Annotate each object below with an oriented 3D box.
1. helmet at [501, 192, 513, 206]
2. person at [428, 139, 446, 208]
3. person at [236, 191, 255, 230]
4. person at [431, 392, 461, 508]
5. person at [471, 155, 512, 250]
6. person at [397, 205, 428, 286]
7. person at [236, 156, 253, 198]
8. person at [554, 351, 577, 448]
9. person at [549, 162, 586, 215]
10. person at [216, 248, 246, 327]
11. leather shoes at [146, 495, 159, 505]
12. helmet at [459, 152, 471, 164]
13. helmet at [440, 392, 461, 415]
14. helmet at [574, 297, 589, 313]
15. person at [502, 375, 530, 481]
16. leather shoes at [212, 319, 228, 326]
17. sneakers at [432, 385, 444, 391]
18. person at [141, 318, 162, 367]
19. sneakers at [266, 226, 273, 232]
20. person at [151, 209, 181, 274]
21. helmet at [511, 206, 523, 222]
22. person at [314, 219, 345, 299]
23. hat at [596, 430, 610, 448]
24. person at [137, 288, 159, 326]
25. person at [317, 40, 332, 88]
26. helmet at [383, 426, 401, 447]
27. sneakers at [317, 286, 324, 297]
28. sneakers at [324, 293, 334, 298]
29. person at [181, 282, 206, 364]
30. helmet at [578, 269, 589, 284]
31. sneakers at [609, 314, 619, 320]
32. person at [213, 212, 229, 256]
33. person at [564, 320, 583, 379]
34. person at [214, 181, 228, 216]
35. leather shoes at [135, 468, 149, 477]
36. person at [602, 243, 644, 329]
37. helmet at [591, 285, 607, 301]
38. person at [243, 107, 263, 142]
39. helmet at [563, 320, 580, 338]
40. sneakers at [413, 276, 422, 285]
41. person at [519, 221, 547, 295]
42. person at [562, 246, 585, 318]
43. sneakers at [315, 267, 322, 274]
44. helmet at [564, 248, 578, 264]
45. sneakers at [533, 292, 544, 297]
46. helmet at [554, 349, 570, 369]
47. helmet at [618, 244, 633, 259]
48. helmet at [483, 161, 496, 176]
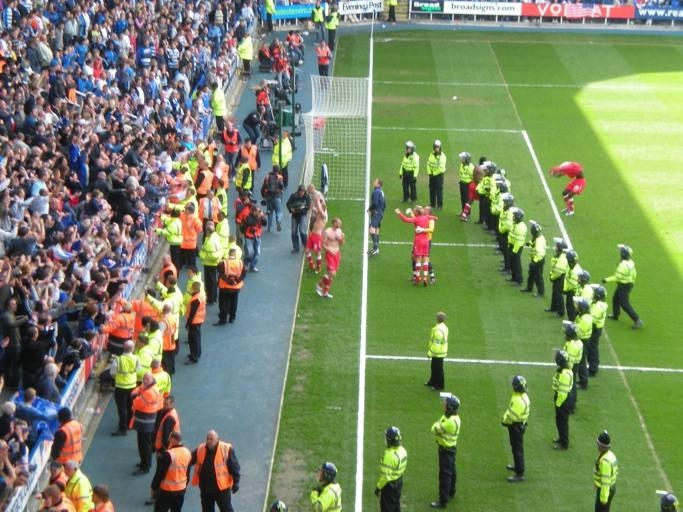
[{"bbox_3d":[4.657,-1.562,34.113,0.293,0.391,0.549,1,22,5],"label":"helmet"},{"bbox_3d":[2.929,-2.562,37.645,0.473,2.297,0.946,0,21,4],"label":"person"},{"bbox_3d":[-2.691,-1.207,33.287,0.457,0.296,0.990,12,30,-7],"label":"person"},{"bbox_3d":[2.251,4.292,26.374,0.540,2.375,0.878,2,21,8],"label":"person"},{"bbox_3d":[4.397,-1.452,35.878,1.060,2.723,1.257,-13,45,-9],"label":"person"},{"bbox_3d":[2.091,-0.262,33.205,0.655,2.310,0.836,-7,21,-14],"label":"person"},{"bbox_3d":[-2.854,-2.303,35.503,0.381,1.241,0.539,5,58,-8],"label":"person"},{"bbox_3d":[5.061,3.349,27.795,0.410,2.195,0.644,2,21,9],"label":"person"},{"bbox_3d":[7.102,-2.179,38.163,1.036,1.750,0.962,-4,13,-19],"label":"person"},{"bbox_3d":[-2.888,0.817,31.030,0.726,2.118,0.575,5,21,15],"label":"person"},{"bbox_3d":[-4.109,5.352,26.179,0.100,0.130,0.311,0,0,26],"label":"leather shoes"},{"bbox_3d":[3.773,-3.042,37.049,0.338,0.452,0.454,4,-11,10],"label":"helmet"},{"bbox_3d":[2.334,3.256,26.410,0.464,0.442,0.359,10,4,25],"label":"helmet"},{"bbox_3d":[5.818,1.227,29.418,0.272,0.409,0.392,2,-1,4],"label":"helmet"},{"bbox_3d":[3.866,3.876,26.957,0.522,2.302,0.784,2,21,8],"label":"person"},{"bbox_3d":[-3.197,1.742,31.351,0.295,0.148,0.131,4,23,-1],"label":"leather shoes"},{"bbox_3d":[2.322,3.261,29.481,0.253,0.119,0.100,-2,19,0],"label":"sneakers"},{"bbox_3d":[-4.307,2.011,27.279,0.402,1.236,0.525,10,29,2],"label":"person"},{"bbox_3d":[-2.171,-0.786,36.037,0.150,0.135,0.228,1,12,-5],"label":"sneakers"},{"bbox_3d":[-4.667,-0.373,31.997,0.589,1.574,0.645,-3,58,-13],"label":"person"},{"bbox_3d":[4.828,-1.103,33.339,0.275,0.364,0.405,-1,22,0],"label":"helmet"},{"bbox_3d":[-0.309,0.064,32.519,0.703,2.204,0.636,8,7,36],"label":"person"},{"bbox_3d":[5.572,3.968,25.902,0.286,0.344,0.407,4,29,15],"label":"hat"},{"bbox_3d":[-4.591,1.220,28.356,0.530,0.826,0.203,10,5,2],"label":"person"},{"bbox_3d":[-0.721,-7.814,48.812,0.610,1.749,0.574,3,27,6],"label":"person"},{"bbox_3d":[1.067,3.836,25.479,0.298,0.491,0.426,-1,22,0],"label":"helmet"},{"bbox_3d":[-0.593,0.996,32.821,0.187,0.255,0.212,-8,9,-3],"label":"sneakers"},{"bbox_3d":[-0.363,1.094,32.764,0.271,0.111,0.119,5,-22,-12],"label":"sneakers"},{"bbox_3d":[-3.615,1.605,29.570,0.510,2.222,0.673,-9,22,-19],"label":"person"},{"bbox_3d":[6.113,0.545,30.692,0.303,0.326,0.229,21,-14,-37],"label":"helmet"},{"bbox_3d":[7.281,1.696,32.431,0.225,0.237,0.119,-10,23,2],"label":"sneakers"},{"bbox_3d":[-3.146,-0.509,31.406,0.309,1.263,0.540,6,31,3],"label":"person"},{"bbox_3d":[5.485,2.266,28.688,0.393,1.307,0.588,13,52,27],"label":"person"},{"bbox_3d":[-3.385,-1.579,33.554,0.263,0.413,0.911,7,-23,1],"label":"person"},{"bbox_3d":[-4.432,4.844,26.736,0.305,0.141,0.143,3,18,-14],"label":"leather shoes"},{"bbox_3d":[7.567,0.939,32.658,1.034,2.025,0.849,17,47,29],"label":"person"},{"bbox_3d":[6.362,0.962,30.128,0.356,0.348,0.315,31,35,22],"label":"helmet"},{"bbox_3d":[-2.939,-4.336,40.125,0.806,0.608,1.477,14,-20,5],"label":"person"},{"bbox_3d":[5.426,1.783,28.688,0.288,0.419,0.348,2,-14,-2],"label":"helmet"},{"bbox_3d":[2.074,0.707,33.573,0.218,0.116,0.233,4,-21,-2],"label":"sneakers"},{"bbox_3d":[5.281,0.135,33.616,0.824,2.607,1.064,-2,23,-1],"label":"person"},{"bbox_3d":[5.949,0.772,31.259,0.544,2.266,0.756,0,34,4],"label":"person"},{"bbox_3d":[-0.689,0.434,33.891,0.128,0.148,0.316,-5,-6,2],"label":"sneakers"},{"bbox_3d":[5.898,0.051,31.227,0.192,0.306,0.294,-17,27,-36],"label":"helmet"},{"bbox_3d":[5.393,1.093,33.207,0.243,0.121,0.095,3,8,-5],"label":"sneakers"},{"bbox_3d":[5.086,2.416,27.906,0.332,0.568,0.628,3,22,10],"label":"helmet"},{"bbox_3d":[7.372,-0.108,31.617,0.313,0.421,0.593,2,23,8],"label":"helmet"},{"bbox_3d":[4.403,-2.617,36.161,0.346,0.434,0.400,0,-1,11],"label":"helmet"}]
